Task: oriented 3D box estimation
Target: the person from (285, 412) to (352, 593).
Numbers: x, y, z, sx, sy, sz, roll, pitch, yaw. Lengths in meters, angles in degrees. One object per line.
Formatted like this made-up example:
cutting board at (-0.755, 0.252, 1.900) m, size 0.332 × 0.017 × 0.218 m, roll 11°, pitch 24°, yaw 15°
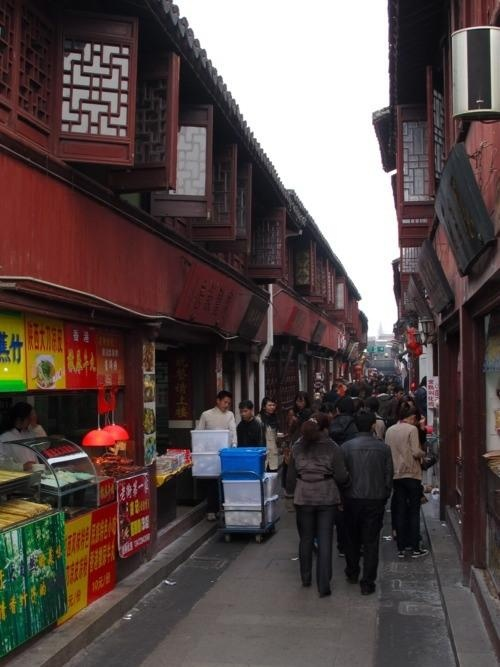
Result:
person at (0.607, 1.608, 6.026) m, size 0.405 × 1.622 × 0.815 m, roll 3°, pitch -5°, yaw -28°

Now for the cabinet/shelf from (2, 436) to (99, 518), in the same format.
cabinet/shelf at (-1.523, 1.019, 4.796) m, size 0.457 × 0.661 × 0.773 m, roll -1°, pitch -6°, yaw 11°

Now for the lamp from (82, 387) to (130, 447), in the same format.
lamp at (-1.354, 0.847, 5.950) m, size 0.451 × 0.764 × 0.606 m, roll 1°, pitch -8°, yaw -8°

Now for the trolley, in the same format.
trolley at (0.039, 2.183, 8.209) m, size 0.510 × 1.077 × 1.005 m, roll -4°, pitch -8°, yaw 14°

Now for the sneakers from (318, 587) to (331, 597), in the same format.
sneakers at (0.684, 2.319, 5.624) m, size 0.150 × 0.081 × 0.065 m, roll 7°, pitch -8°, yaw -44°

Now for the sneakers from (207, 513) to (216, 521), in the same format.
sneakers at (-0.550, 2.673, 9.177) m, size 0.087 × 0.117 × 0.172 m, roll 1°, pitch -5°, yaw 3°

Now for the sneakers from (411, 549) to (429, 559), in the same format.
sneakers at (1.966, 2.527, 7.213) m, size 0.295 × 0.089 × 0.132 m, roll 6°, pitch -7°, yaw -36°

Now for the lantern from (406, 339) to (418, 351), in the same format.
lantern at (4.746, 0.390, 18.210) m, size 0.274 × 0.274 × 1.029 m, roll 0°, pitch -6°, yaw 13°

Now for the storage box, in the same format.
storage box at (-0.229, 1.923, 8.501) m, size 1.157 × 1.633 × 0.865 m, roll -1°, pitch -2°, yaw 11°
